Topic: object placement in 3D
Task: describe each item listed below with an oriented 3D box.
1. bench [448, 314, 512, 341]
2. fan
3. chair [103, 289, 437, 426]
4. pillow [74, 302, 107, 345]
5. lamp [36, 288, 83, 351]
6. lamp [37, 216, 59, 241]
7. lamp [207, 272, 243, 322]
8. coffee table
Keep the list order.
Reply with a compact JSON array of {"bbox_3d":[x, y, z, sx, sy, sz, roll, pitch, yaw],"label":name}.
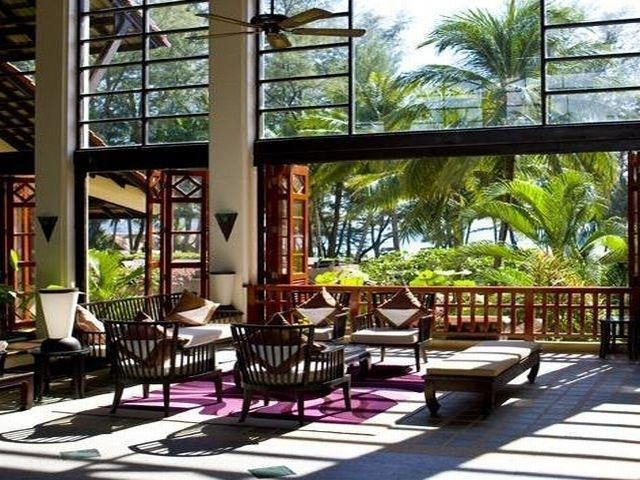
[{"bbox_3d":[2.503,1.355,9.508,0.944,0.390,0.715,-1,0,11],"label":"bench"},{"bbox_3d":[-0.751,-3.356,9.330,2.668,0.270,2.276,-1,2,-19],"label":"fan"},{"bbox_3d":[-0.502,0.941,6.007,2.041,0.593,1.305,0,1,25],"label":"chair"},{"bbox_3d":[-2.730,0.973,7.245,0.198,0.456,0.555,-25,36,-1],"label":"pillow"},{"bbox_3d":[-2.864,0.869,6.597,0.391,0.713,0.299,-2,0,-21],"label":"lamp"},{"bbox_3d":[-4.933,-0.204,10.881,0.401,0.479,0.087,-1,0,20],"label":"lamp"},{"bbox_3d":[-1.623,0.945,10.104,0.967,0.871,0.833,-1,-6,-6],"label":"lamp"},{"bbox_3d":[-2.929,1.440,6.792,0.735,0.406,0.718,0,-1,43],"label":"coffee table"}]
